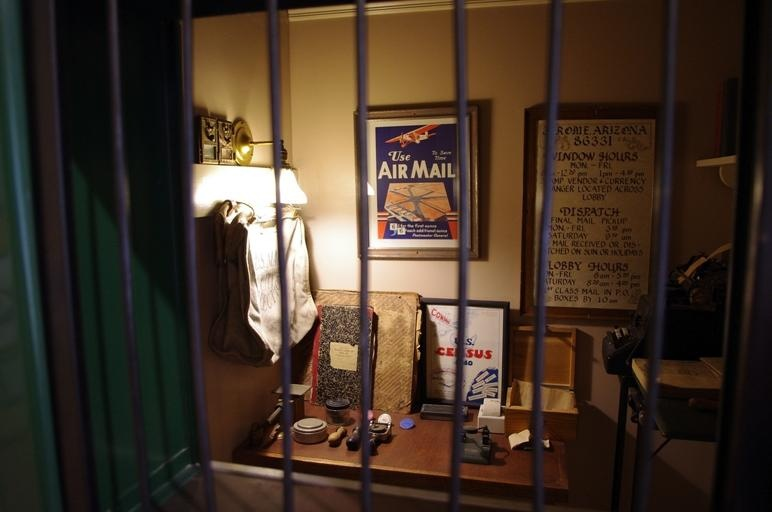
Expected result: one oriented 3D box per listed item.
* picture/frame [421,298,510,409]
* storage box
[{"bbox_3d":[0.347,0.435,2.604,0.387,0.455,0.242,1,6,2],"label":"picture/frame"},{"bbox_3d":[0.648,0.548,2.526,0.363,0.442,0.363,0,5,-2],"label":"storage box"}]
